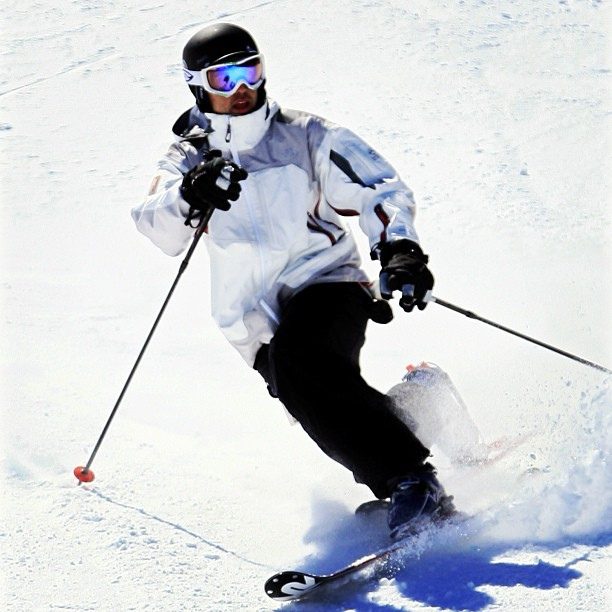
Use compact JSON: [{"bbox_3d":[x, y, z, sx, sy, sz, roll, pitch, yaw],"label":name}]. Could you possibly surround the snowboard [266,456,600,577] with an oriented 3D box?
[{"bbox_3d":[0.802,1.248,5.845,2.251,0.155,0.220,-15,-1,-9],"label":"snowboard"}]
